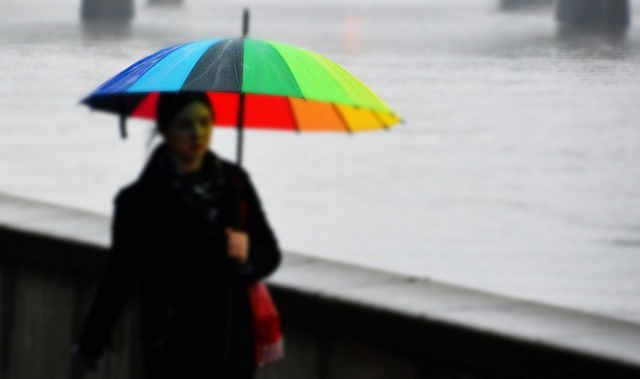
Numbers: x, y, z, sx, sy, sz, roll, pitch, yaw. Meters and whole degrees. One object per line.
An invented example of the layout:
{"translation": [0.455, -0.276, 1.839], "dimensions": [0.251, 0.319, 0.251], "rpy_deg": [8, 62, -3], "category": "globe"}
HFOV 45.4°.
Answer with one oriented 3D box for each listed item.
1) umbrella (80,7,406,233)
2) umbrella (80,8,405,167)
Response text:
{"translation": [-0.443, -0.394, 4.670], "dimensions": [1.804, 1.162, 1.636], "rpy_deg": [3, -4, 3], "category": "umbrella"}
{"translation": [-0.310, -0.592, 4.486], "dimensions": [1.453, 0.647, 1.298], "rpy_deg": [-1, -3, 8], "category": "umbrella"}
